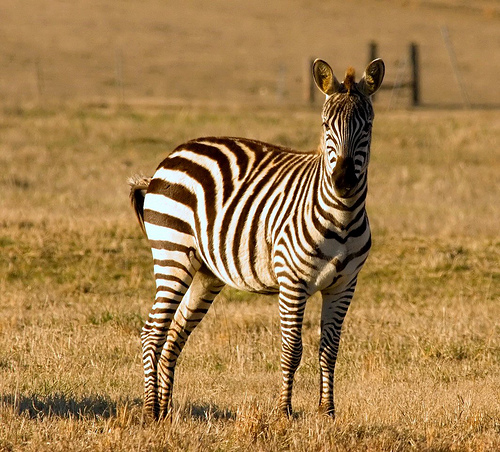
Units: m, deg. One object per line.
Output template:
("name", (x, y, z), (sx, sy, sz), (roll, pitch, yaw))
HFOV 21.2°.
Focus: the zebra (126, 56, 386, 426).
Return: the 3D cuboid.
("zebra", (0.230, 0.087, 25.169), (3.999, 6.272, 1.884), (6, 19, 10))
